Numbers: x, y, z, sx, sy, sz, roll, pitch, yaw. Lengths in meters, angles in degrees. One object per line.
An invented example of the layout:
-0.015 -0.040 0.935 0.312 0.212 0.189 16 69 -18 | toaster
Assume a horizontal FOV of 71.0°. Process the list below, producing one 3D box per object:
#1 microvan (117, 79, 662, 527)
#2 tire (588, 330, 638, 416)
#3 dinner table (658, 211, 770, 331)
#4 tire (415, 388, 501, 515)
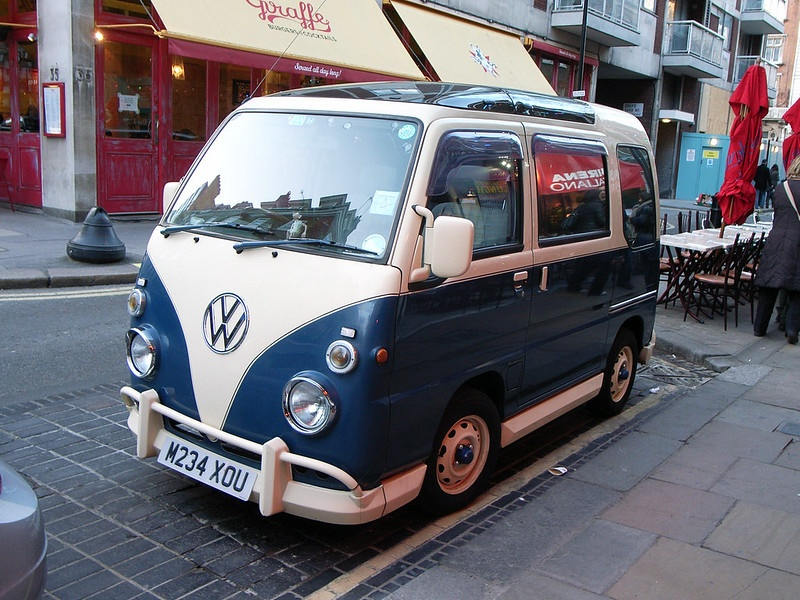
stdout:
0.316 -0.309 4.813 4.327 2.545 2.705 -7 10 -45 | microvan
2.092 0.712 5.558 0.280 0.806 0.809 9 -2 39 | tire
5.515 -0.445 9.838 1.301 1.018 2.396 7 11 43 | dinner table
0.365 0.993 3.714 0.292 0.851 0.854 12 0 41 | tire
